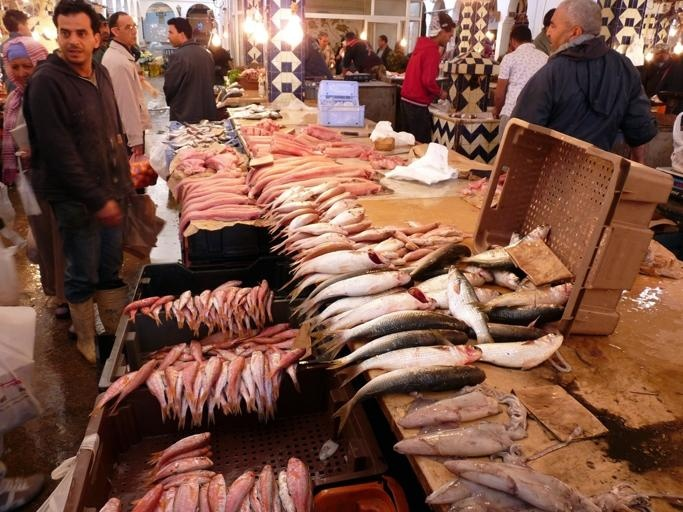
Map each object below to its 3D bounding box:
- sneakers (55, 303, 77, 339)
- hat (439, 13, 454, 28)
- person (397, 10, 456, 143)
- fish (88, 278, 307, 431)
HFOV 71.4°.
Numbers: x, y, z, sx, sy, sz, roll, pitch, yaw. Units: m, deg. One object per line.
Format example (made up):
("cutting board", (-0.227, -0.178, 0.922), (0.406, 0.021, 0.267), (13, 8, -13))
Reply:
("sneakers", (-2.722, 0.661, 4.706), (0.119, 0.161, 0.379), (-17, 56, -25))
("hat", (1.797, -4.024, 8.153), (0.243, 0.231, 0.592), (7, 24, 10))
("person", (1.491, -3.186, 8.593), (0.805, 2.207, 1.246), (6, 24, 9))
("fish", (-0.763, 0.597, 2.774), (0.981, 0.198, 0.826), (-6, 30, -34))
